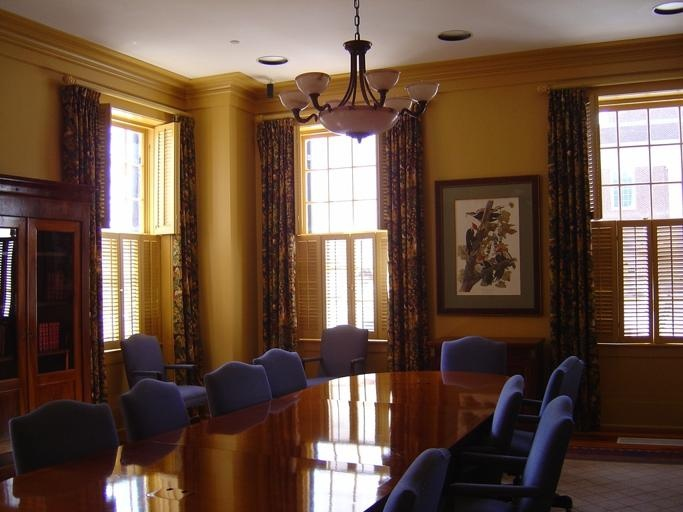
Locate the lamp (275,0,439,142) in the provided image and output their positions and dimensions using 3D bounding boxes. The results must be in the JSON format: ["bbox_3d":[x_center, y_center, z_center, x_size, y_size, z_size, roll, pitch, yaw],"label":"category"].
[{"bbox_3d":[0.198,-1.337,4.218,0.988,0.940,1.820,-1,0,11],"label":"lamp"}]

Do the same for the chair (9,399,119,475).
[{"bbox_3d":[-1.439,0.873,3.035,0.381,0.572,0.439,2,-16,-38],"label":"chair"}]

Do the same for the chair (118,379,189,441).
[{"bbox_3d":[-1.034,0.822,3.255,0.294,0.513,0.286,-11,-8,40],"label":"chair"}]

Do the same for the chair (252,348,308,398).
[{"bbox_3d":[-0.423,0.829,4.232,0.319,0.427,0.310,-7,-6,42],"label":"chair"}]

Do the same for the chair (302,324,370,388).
[{"bbox_3d":[0.039,0.991,5.867,0.484,0.737,0.593,-3,-7,24],"label":"chair"}]
